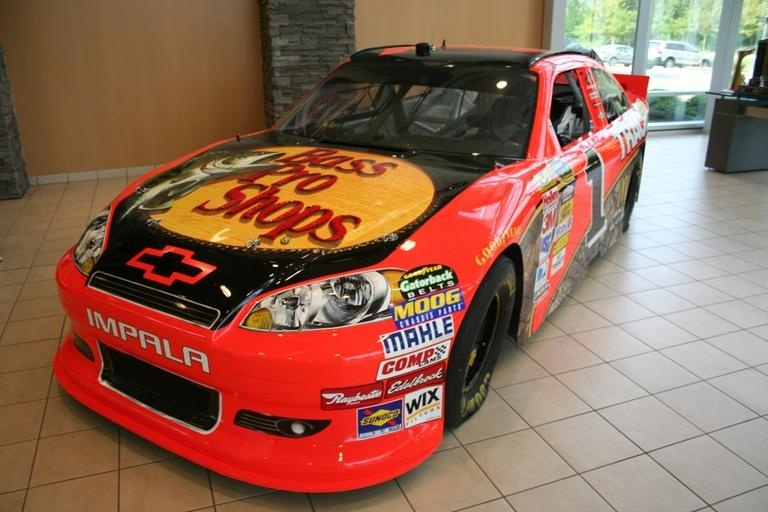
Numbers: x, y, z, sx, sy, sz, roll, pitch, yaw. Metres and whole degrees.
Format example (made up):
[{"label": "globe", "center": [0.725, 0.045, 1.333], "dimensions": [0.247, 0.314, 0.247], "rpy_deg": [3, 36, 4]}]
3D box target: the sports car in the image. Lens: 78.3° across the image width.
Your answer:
[{"label": "sports car", "center": [0.361, -0.284, 3.016], "dimensions": [2.049, 1.124, 3.666], "rpy_deg": [21, 32, 35]}]
